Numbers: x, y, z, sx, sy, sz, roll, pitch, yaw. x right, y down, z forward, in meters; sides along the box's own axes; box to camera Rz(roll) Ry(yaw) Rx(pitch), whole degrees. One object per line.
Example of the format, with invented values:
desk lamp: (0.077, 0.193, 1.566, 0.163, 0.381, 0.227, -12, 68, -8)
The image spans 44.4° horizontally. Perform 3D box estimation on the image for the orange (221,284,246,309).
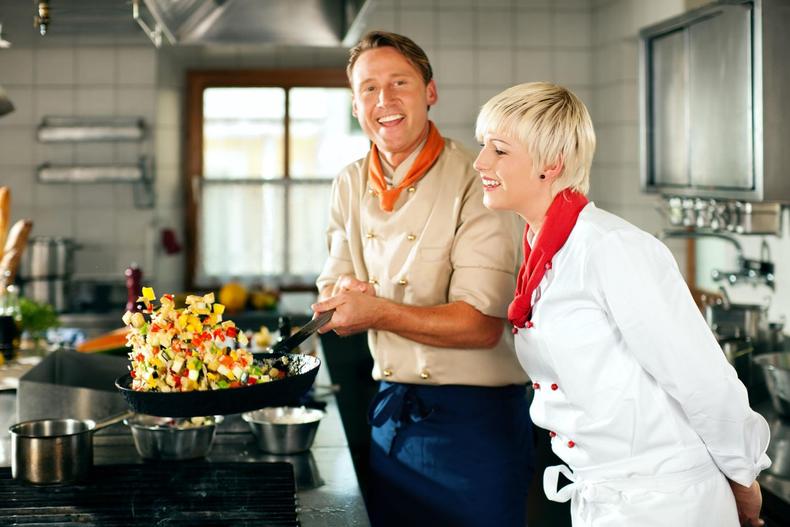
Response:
orange: (-0.541, 0.111, 3.203, 0.065, 0.077, 0.066, 2, -24, 2)

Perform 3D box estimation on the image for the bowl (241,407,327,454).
bowl: (-0.266, 0.374, 2.160, 0.132, 0.054, 0.135, -1, -4, 0)

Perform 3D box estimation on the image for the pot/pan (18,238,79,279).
pot/pan: (-0.765, -0.013, 2.132, 0.099, 0.102, 0.075, 2, 4, 2)

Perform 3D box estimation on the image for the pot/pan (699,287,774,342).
pot/pan: (0.810, 0.130, 2.285, 0.135, 0.092, 0.256, -1, -3, 15)

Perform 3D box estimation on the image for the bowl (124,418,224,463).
bowl: (-0.473, 0.367, 2.026, 0.182, 0.093, 0.091, -1, -3, -21)

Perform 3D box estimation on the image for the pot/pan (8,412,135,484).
pot/pan: (-0.686, 0.376, 1.929, 0.162, 0.121, 0.091, -1, -2, -10)
